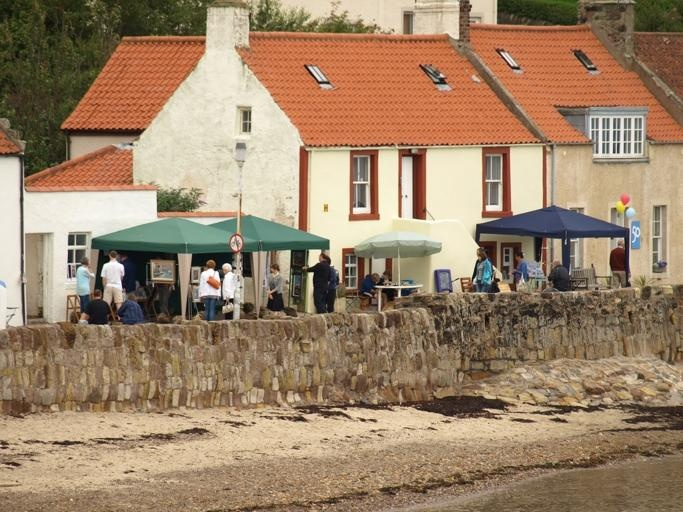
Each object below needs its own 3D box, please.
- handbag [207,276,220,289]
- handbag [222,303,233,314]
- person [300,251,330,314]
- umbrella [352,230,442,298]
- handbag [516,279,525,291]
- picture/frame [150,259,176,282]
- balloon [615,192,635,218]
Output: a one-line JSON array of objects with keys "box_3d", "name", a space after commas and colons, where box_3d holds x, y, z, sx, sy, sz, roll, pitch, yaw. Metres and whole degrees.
[{"box_3d": [-3.862, 0.795, 49.874, 0.318, 0.119, 0.311, 38, 31, -13], "name": "handbag"}, {"box_3d": [-3.508, 1.624, 50.781, 0.299, 0.360, 0.166, -7, -1, -30], "name": "handbag"}, {"box_3d": [-0.819, 1.028, 53.158, 0.751, 2.207, 0.812, 1, 1, -3], "name": "person"}, {"box_3d": [1.804, 0.132, 54.928, 1.925, 1.498, 1.995, -1, -9, -3], "name": "umbrella"}, {"box_3d": [5.926, 0.940, 54.157, 0.308, 0.407, 0.732, -1, -3, 7], "name": "handbag"}, {"box_3d": [-5.603, 0.483, 51.720, 0.537, 0.653, 0.216, 1, 1, -3], "name": "picture/frame"}, {"box_3d": [10.212, -1.821, 59.457, 0.668, 0.865, 1.330, -1, -3, 10], "name": "balloon"}]
